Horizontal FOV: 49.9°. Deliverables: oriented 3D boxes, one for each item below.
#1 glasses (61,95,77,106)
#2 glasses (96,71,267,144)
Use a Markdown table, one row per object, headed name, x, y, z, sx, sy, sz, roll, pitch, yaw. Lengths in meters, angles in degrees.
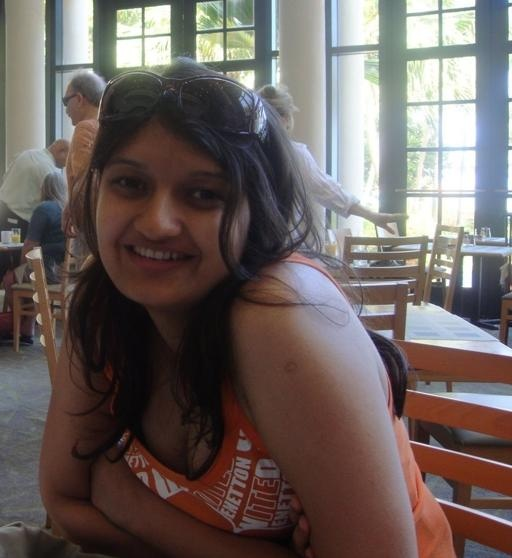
| name | x | y | z | sx | sy | sz | roll | pitch | yaw |
| --- | --- | --- | --- | --- | --- | --- | --- | --- | --- |
| glasses | -1.004 | -0.968 | 2.928 | 0.080 | 0.026 | 0.073 | -47 | 33 | -15 |
| glasses | -0.093 | -0.212 | 0.663 | 0.204 | 0.076 | 0.084 | 6 | 9 | 17 |
